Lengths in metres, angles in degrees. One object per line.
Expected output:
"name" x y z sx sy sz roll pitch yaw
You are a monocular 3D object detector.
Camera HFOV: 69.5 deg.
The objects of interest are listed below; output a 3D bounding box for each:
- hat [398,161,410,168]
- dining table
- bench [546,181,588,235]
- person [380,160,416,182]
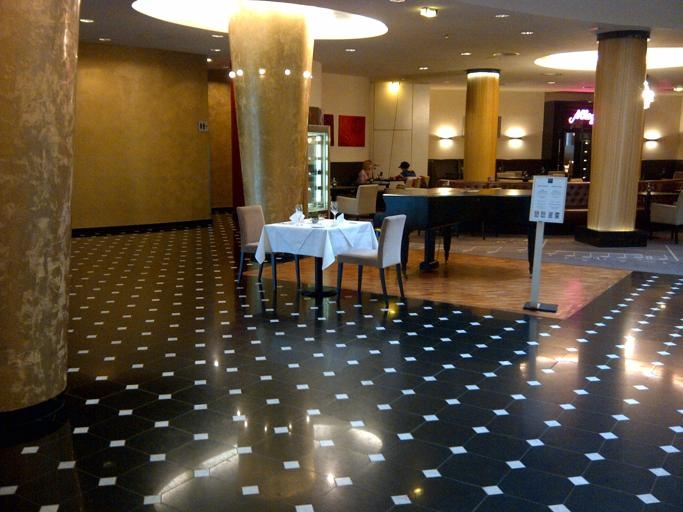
"hat" 2.019 -2.903 15.702 0.315 0.225 0.431 -2 19 0
"dining table" -0.202 -0.156 6.958 1.083 0.512 1.111 7 18 28
"bench" 5.670 -1.346 12.367 0.806 1.075 1.129 -9 12 -6
"person" 1.982 -2.738 15.839 0.763 0.667 1.064 -5 15 -26
